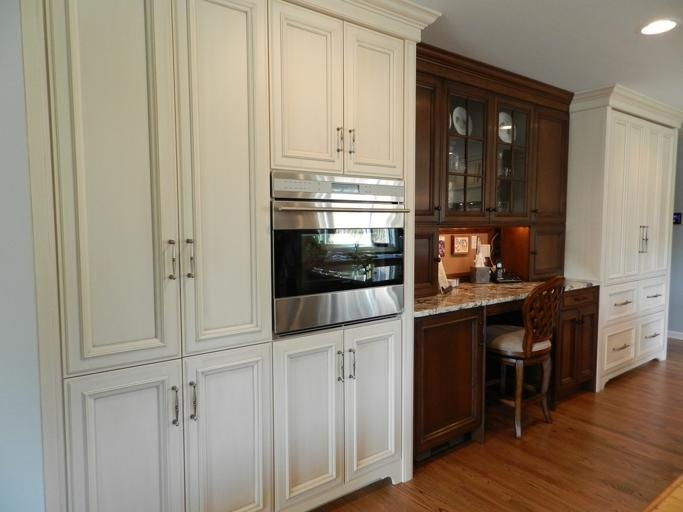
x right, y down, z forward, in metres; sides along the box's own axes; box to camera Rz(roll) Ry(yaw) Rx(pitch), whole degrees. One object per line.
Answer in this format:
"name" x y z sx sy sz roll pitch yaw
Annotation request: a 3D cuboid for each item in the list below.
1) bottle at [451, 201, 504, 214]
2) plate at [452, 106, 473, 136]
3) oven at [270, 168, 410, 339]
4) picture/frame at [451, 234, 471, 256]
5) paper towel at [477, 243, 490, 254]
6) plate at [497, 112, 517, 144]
"bottle" 1.006 -0.361 4.049 0.527 0.095 0.029 -8 10 -33
"plate" 0.873 -0.982 3.920 0.204 0.208 0.026 -8 10 -35
"oven" -0.053 -0.043 3.209 0.862 0.858 0.432 -3 6 -28
"picture/frame" 0.979 -0.094 4.456 0.204 0.176 0.018 -8 10 -36
"paper towel" 1.167 -0.068 4.512 0.119 0.118 0.068 -2 4 -30
"plate" 1.278 -0.994 4.211 0.221 0.215 0.055 22 -9 -38
